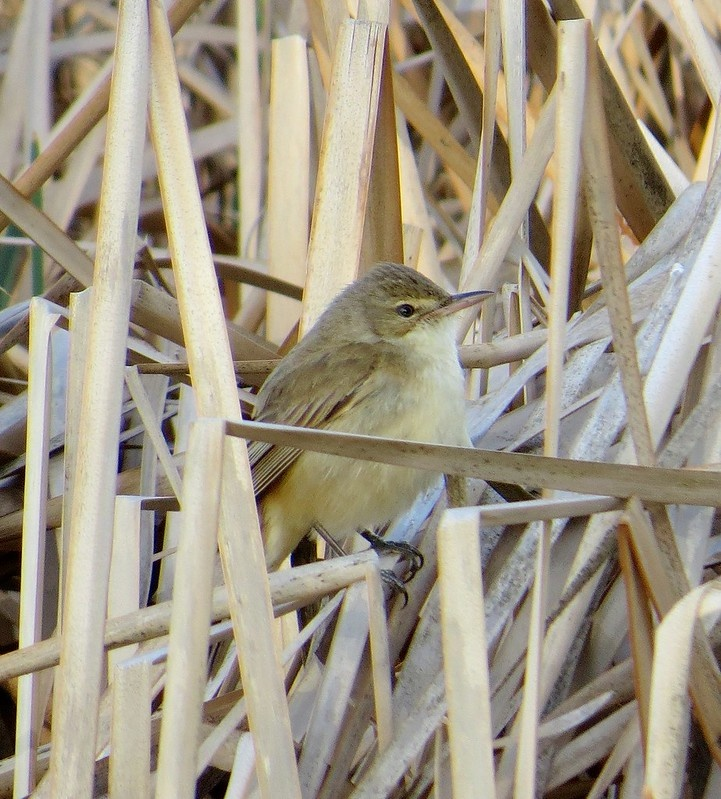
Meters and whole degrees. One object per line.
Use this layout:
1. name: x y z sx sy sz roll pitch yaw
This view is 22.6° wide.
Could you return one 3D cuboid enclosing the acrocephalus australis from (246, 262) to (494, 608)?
1. acrocephalus australis: 0.029 0.113 3.858 0.609 0.829 0.439 -2 -21 9
